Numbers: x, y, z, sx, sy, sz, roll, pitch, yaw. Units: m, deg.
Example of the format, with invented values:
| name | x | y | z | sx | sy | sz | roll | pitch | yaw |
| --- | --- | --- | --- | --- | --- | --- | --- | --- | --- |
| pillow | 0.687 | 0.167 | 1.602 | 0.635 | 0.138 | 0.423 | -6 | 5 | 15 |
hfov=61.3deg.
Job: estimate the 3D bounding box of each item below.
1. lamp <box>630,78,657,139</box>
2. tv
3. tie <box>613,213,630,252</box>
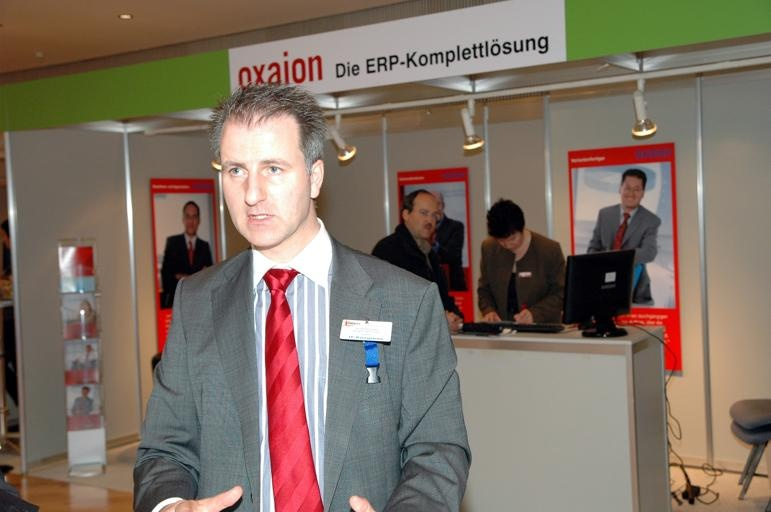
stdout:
| name | x | y | z | sx | sy | sz | roll | pitch | yaw |
| --- | --- | --- | --- | --- | --- | --- | --- | --- | --- |
| lamp | 2.323 | -1.338 | 5.886 | 0.213 | 0.507 | 0.311 | -2 | 1 | 23 |
| tv | 1.640 | 0.300 | 5.027 | 0.621 | 0.612 | 0.327 | -1 | 3 | -21 |
| tie | 2.190 | -0.233 | 6.040 | 0.095 | 0.346 | 0.048 | 18 | 21 | 25 |
